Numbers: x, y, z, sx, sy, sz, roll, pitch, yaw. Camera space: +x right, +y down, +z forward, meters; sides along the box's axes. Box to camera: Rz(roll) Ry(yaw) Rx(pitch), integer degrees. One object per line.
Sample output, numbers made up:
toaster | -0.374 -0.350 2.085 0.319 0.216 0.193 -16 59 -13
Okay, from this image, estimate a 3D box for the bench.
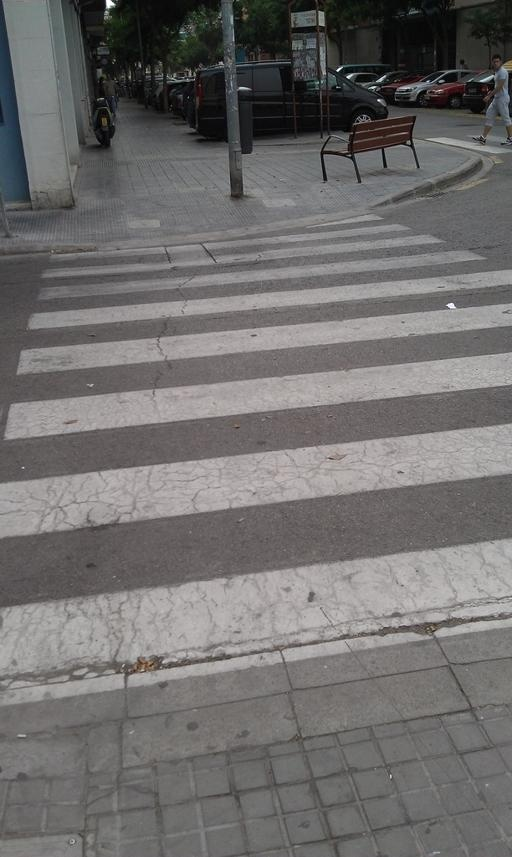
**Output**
bench | 2.532 -6.166 14.148 2.116 1.259 0.984 -27 37 -34
